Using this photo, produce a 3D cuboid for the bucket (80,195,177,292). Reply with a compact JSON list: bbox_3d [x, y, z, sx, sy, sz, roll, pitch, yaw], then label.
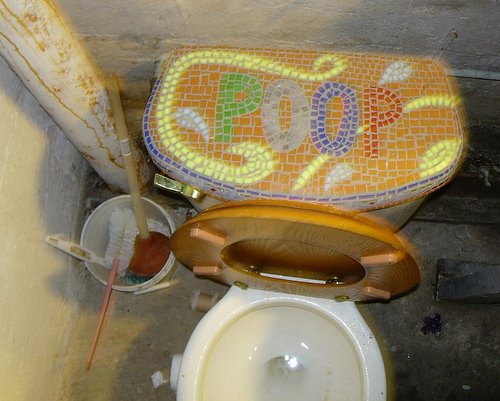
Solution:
[{"bbox_3d":[-0.367,0.136,2.176,0.298,0.329,0.344,3,71,2],"label":"bucket"}]
